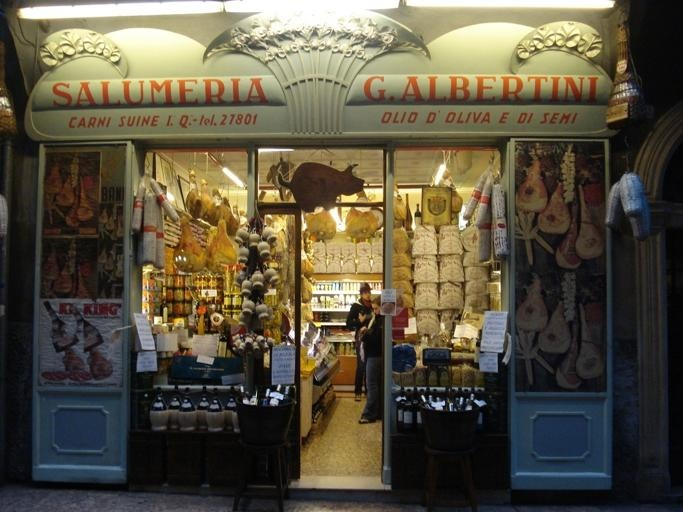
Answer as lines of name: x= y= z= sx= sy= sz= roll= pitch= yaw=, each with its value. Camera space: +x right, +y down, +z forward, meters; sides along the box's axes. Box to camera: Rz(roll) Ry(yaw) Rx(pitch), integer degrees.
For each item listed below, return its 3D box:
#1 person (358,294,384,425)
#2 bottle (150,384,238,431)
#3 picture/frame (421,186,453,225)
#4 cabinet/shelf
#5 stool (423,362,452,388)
person: x=0.383 y=1.436 z=9.863 sx=0.281 sy=1.579 sz=0.608 roll=0 pitch=-3 yaw=0
bottle: x=-1.497 y=1.608 z=7.982 sx=0.878 sy=0.461 sz=0.420 roll=1 pitch=-5 yaw=-2
picture/frame: x=1.048 y=-0.551 z=8.186 sx=0.409 sy=0.546 sz=0.087 roll=1 pitch=-6 yaw=-2
cabinet/shelf: x=0.198 y=1.394 z=13.008 sx=0.643 sy=1.858 sz=1.878 roll=7 pitch=-9 yaw=-21
stool: x=1.027 y=1.246 z=7.867 sx=0.245 sy=0.238 sz=0.243 roll=1 pitch=-1 yaw=7
